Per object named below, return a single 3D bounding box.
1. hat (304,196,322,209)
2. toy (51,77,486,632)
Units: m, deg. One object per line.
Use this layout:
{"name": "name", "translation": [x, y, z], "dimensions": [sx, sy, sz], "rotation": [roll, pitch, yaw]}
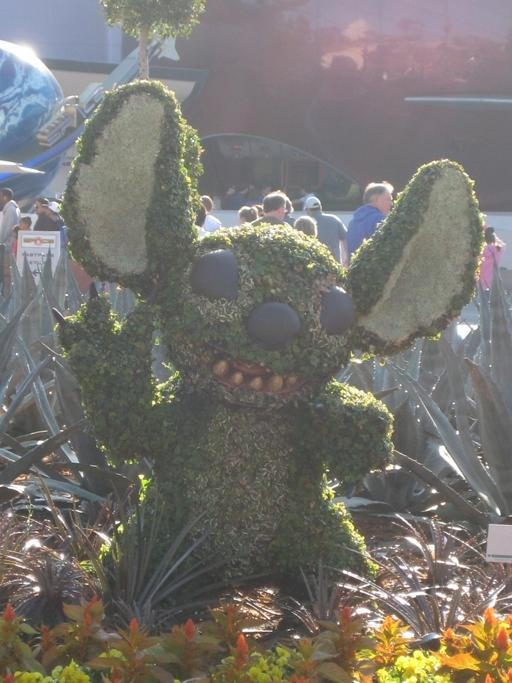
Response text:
{"name": "hat", "translation": [0.355, -0.836, 7.348], "dimensions": [0.101, 0.073, 0.139], "rotation": [2, 16, -4]}
{"name": "toy", "translation": [-0.031, 0.019, 3.636], "dimensions": [1.257, 1.114, 1.177], "rotation": [11, 44, 9]}
